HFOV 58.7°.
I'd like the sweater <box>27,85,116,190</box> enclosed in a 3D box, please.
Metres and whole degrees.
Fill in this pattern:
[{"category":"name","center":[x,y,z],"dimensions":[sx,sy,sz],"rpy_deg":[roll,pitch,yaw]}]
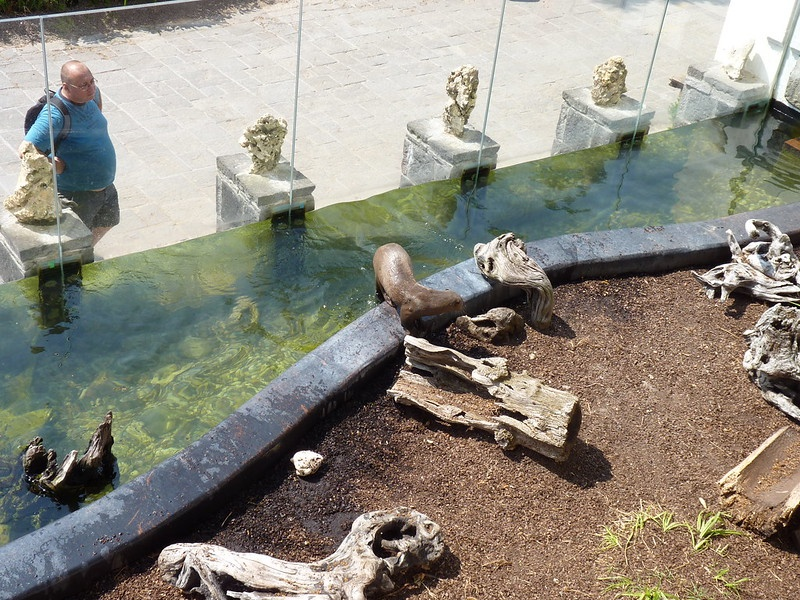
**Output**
[{"category":"sweater","center":[-2.274,-1.173,4.976],"dimensions":[0.444,0.625,0.371],"rpy_deg":[-15,47,-21]}]

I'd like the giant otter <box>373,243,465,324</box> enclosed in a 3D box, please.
[{"category":"giant otter","center":[0.102,-0.114,5.170],"dimensions":[0.436,0.326,0.758],"rpy_deg":[-9,35,-17]}]

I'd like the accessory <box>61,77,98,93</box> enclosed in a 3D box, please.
[{"category":"accessory","center":[-2.112,-1.424,4.705],"dimensions":[0.108,0.032,0.110],"rpy_deg":[-31,69,-36]}]

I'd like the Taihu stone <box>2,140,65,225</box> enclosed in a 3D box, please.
[{"category":"Taihu stone","center":[-2.500,-0.783,4.924],"dimensions":[0.332,0.487,0.287],"rpy_deg":[19,48,10]}]

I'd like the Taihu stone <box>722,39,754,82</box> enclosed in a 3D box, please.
[{"category":"Taihu stone","center":[3.973,-2.842,8.472],"dimensions":[0.321,0.619,0.166],"rpy_deg":[20,-2,-5]}]
